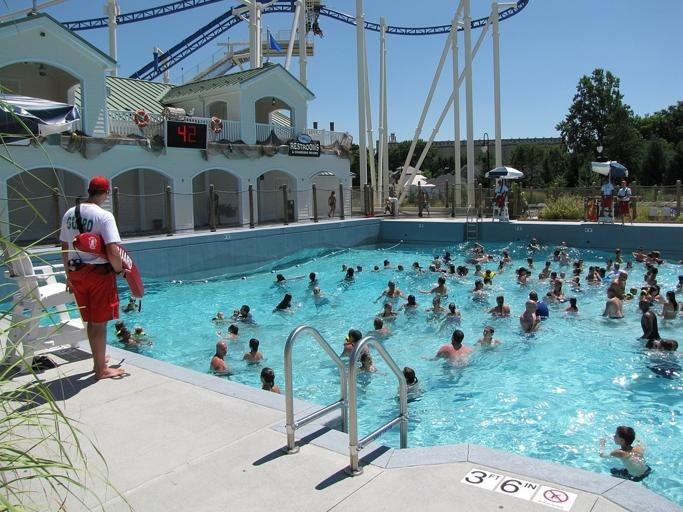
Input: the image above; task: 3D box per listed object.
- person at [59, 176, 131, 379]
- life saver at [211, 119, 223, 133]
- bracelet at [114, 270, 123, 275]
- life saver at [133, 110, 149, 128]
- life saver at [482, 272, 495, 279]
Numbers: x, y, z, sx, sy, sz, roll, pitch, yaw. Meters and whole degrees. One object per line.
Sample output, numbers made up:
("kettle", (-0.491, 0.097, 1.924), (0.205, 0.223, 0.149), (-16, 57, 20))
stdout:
("person", (-2.767, 0.274, 5.692), (0.584, 2.276, 0.735), (-4, 9, -29))
("life saver", (-5.426, -5.472, 21.781), (0.179, 0.557, 0.530), (0, 16, 33))
("bracelet", (-2.481, 0.182, 5.698), (0.068, 0.054, 0.070), (1, 1, 6))
("life saver", (-7.737, -5.194, 19.669), (0.563, 0.573, 0.568), (-3, 8, -23))
("life saver", (4.531, 0.575, 15.708), (0.276, 0.113, 0.283), (8, 9, 43))
